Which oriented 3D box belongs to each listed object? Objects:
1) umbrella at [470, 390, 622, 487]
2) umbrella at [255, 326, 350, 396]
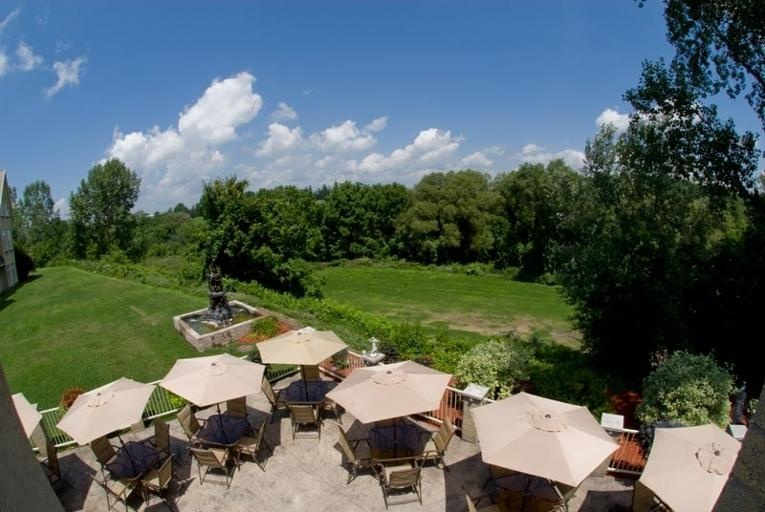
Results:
[{"bbox_3d":[4.472,5.074,12.458,2.670,1.251,2.973,26,46,37],"label":"umbrella"},{"bbox_3d":[-2.949,4.293,16.895,2.510,2.430,2.649,-1,28,-11],"label":"umbrella"}]
